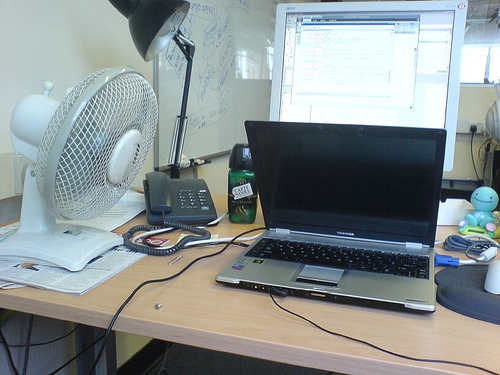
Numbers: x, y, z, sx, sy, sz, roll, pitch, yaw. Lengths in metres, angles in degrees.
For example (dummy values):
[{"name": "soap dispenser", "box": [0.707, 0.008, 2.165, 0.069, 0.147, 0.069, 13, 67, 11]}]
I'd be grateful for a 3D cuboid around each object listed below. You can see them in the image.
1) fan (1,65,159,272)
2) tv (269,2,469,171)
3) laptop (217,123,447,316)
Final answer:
[{"name": "fan", "box": [-0.384, -0.047, 0.917, 0.353, 0.423, 0.225, -4, 13, -10]}, {"name": "tv", "box": [0.301, -0.266, 1.049, 0.413, 0.374, 0.033, 6, 8, 14]}, {"name": "laptop", "box": [0.172, 0.030, 0.855, 0.412, 0.309, 0.292, 5, 13, 27]}]
